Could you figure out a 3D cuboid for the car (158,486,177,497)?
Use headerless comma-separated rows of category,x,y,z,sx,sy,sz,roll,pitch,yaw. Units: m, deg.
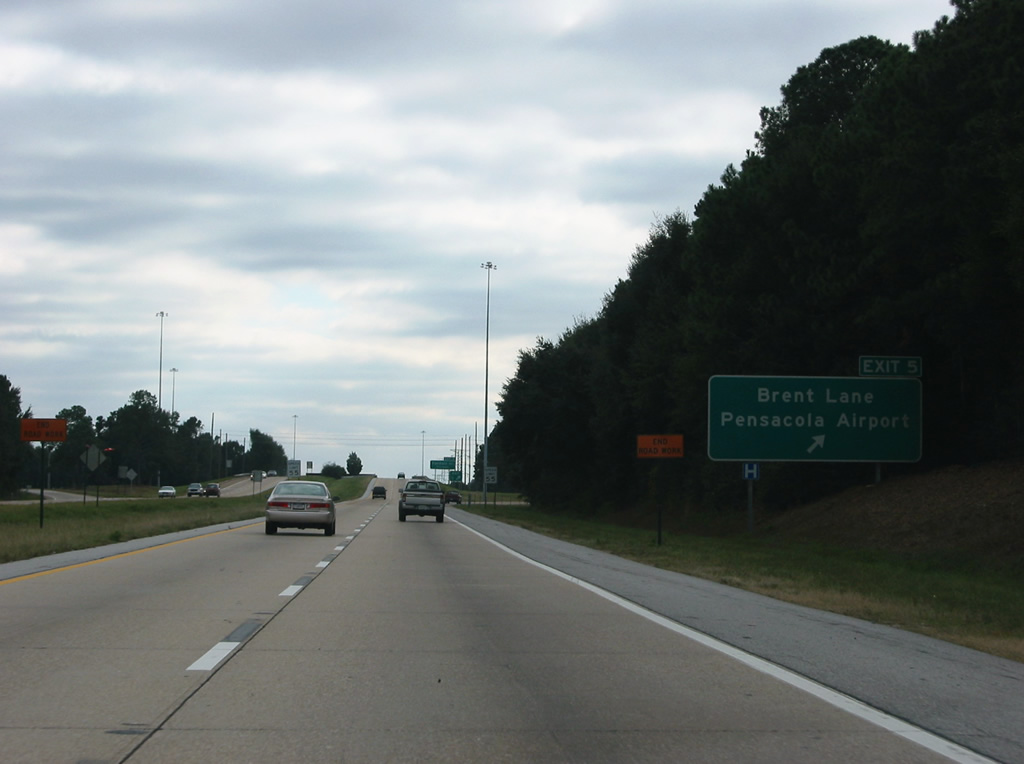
car,-37.269,12.022,129.689,1.381,1.115,2.641,1,-9,-7

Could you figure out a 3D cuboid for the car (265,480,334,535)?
car,-6.094,3.697,34.382,1.932,1.501,1.746,0,-4,-20
